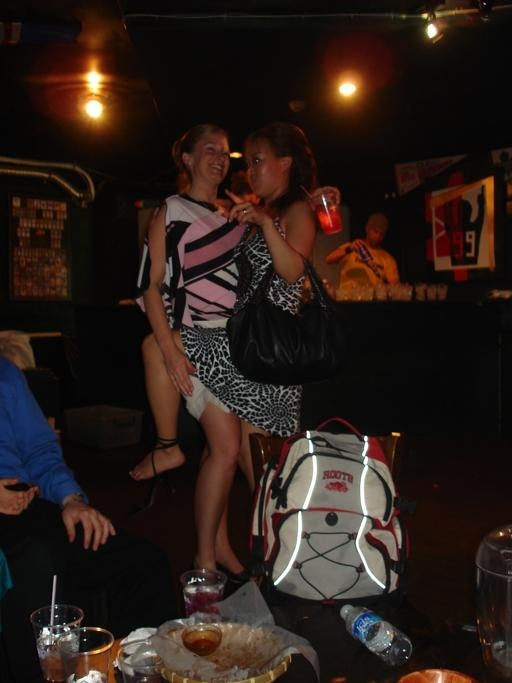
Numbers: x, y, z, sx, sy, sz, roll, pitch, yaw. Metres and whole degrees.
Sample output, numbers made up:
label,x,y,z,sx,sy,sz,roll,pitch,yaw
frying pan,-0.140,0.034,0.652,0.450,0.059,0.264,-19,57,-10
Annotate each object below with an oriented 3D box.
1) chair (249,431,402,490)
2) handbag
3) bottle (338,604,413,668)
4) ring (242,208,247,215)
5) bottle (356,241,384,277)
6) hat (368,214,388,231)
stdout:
label,x,y,z,sx,sy,sz,roll,pitch,yaw
chair,0.167,0.260,1.563,0.269,0.246,0.198,-7,-9,41
handbag,0.060,-0.058,1.802,0.425,0.385,0.209,0,6,0
bottle,0.188,0.474,1.020,0.072,0.054,0.157,-2,3,-32
ring,-0.035,-0.375,1.782,0.015,0.013,0.005,-14,-3,17
bottle,0.962,-0.687,5.291,0.146,0.104,0.429,-5,46,-23
hat,1.191,-1.175,6.081,0.179,0.214,0.209,2,46,9
